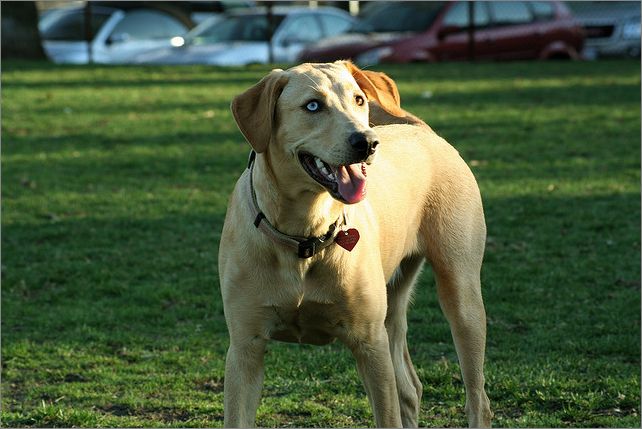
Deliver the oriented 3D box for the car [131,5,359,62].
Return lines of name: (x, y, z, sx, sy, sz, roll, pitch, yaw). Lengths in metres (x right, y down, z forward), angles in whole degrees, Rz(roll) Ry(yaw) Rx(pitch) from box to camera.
car: (-1.520, -3.768, 21.604, 3.698, 1.161, 1.962, -4, 6, -34)
